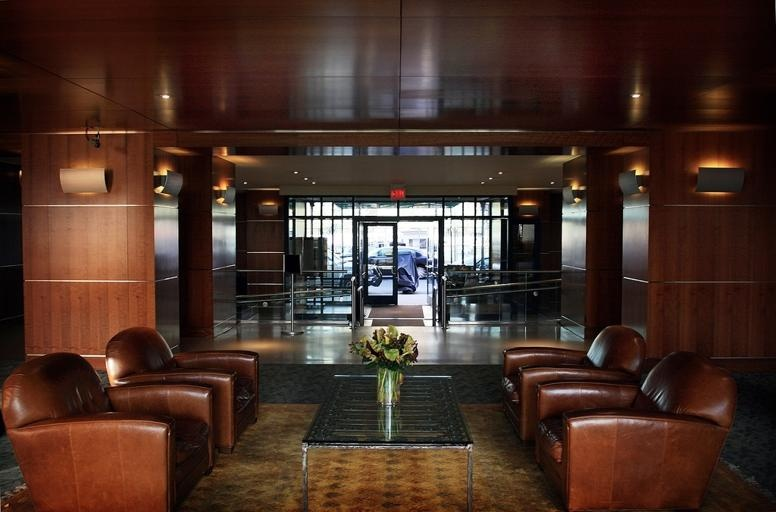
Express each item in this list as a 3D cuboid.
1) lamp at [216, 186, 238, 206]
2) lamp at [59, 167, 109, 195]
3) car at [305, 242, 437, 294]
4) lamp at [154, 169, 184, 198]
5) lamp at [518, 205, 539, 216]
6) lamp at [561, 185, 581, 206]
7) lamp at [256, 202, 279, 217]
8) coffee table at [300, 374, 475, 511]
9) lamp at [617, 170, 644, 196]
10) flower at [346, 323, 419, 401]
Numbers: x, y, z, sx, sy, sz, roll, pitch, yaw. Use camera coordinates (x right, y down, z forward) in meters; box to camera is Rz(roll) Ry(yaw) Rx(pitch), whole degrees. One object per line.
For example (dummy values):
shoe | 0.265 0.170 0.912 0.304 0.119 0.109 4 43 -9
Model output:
lamp | -3.220 -1.205 11.840 0.291 0.319 0.780 -3 0 5
lamp | -4.685 -1.155 9.164 0.530 0.249 0.161 0 3 6
car | -0.006 0.413 17.076 2.628 0.992 1.340 1 4 -1
lamp | -3.459 -1.172 9.513 0.482 0.278 0.363 -3 -5 31
lamp | 4.062 -1.301 17.006 0.631 0.317 0.286 0 -2 3
lamp | 3.618 -1.177 11.656 0.307 0.339 0.371 -1 -26 2
lamp | -3.476 -1.341 17.218 0.778 0.425 0.370 0 -3 -1
coffee table | -0.014 1.882 6.113 1.596 0.934 1.647 -1 0 -2
lamp | 3.935 -1.174 9.568 0.199 0.373 0.466 -2 0 -4
flower | 0.044 1.224 6.402 0.954 0.713 0.761 8 -11 -31
